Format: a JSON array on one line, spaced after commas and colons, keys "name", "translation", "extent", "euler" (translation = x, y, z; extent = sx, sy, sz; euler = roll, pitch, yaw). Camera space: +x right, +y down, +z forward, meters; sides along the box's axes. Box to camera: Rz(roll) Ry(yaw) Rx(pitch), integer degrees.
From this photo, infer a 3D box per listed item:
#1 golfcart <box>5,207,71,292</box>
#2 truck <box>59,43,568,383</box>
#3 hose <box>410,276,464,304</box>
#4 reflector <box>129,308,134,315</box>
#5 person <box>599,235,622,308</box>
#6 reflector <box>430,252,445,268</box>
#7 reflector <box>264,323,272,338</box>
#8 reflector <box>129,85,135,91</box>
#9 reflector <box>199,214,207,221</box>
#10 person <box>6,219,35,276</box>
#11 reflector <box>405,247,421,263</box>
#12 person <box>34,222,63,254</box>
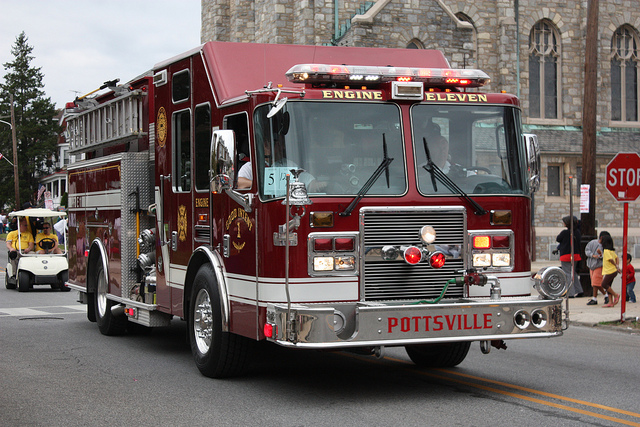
[{"name": "golfcart", "translation": [-8.861, 1.207, 21.967], "extent": [2.074, 2.636, 4.641], "euler": [-1, -1, -24]}, {"name": "truck", "translation": [-1.310, -0.150, 12.504], "extent": [4.221, 4.236, 9.607], "euler": [1, -2, -27]}, {"name": "hose", "translation": [1.514, 0.976, 8.921], "extent": [0.770, 0.318, 0.225], "euler": [0, 0, -31]}, {"name": "reflector", "translation": [-3.267, 1.698, 12.115], "extent": [0.086, 0.094, 0.021], "euler": [0, -5, 37]}, {"name": "person", "translation": [7.424, 1.441, 17.906], "extent": [0.427, 1.808, 1.446], "euler": [0, 0, 22]}, {"name": "reflector", "translation": [1.512, 0.600, 8.999], "extent": [0.214, 0.200, 0.093], "euler": [0, 0, -8]}, {"name": "reflector", "translation": [-0.641, 1.454, 8.710], "extent": [0.102, 0.200, 0.201], "euler": [0, 0, -25]}, {"name": "reflector", "translation": [-3.374, -2.263, 12.526], "extent": [0.108, 0.026, 0.112], "euler": [42, -22, 28]}, {"name": "reflector", "translation": [-1.694, 0.050, 10.142], "extent": [0.075, 0.096, 0.132], "euler": [0, 2, -35]}, {"name": "person", "translation": [-9.519, 1.079, 22.259], "extent": [0.808, 1.796, 0.734], "euler": [0, 0, -25]}, {"name": "reflector", "translation": [1.180, 0.525, 8.859], "extent": [0.208, 0.191, 0.040], "euler": [0, 0, -20]}, {"name": "person", "translation": [-8.828, 0.842, 22.674], "extent": [0.799, 1.197, 0.961], "euler": [9, -33, -25]}]
